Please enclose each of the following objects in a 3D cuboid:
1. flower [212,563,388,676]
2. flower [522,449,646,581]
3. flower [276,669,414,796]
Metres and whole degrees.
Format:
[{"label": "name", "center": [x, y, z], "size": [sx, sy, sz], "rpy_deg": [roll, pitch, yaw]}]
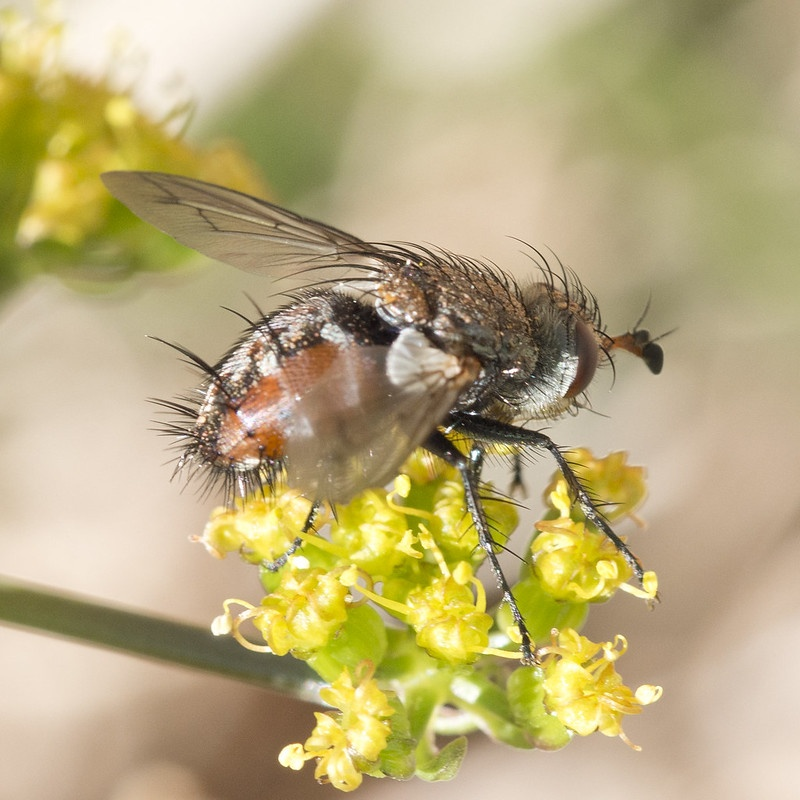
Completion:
[{"label": "flower", "center": [-0.143, 0.321, 1.504], "size": [0.242, 0.071, 0.183], "rpy_deg": [-29, -82, 21]}, {"label": "flower", "center": [0.338, 0.187, 1.729], "size": [0.158, 0.183, 0.051], "rpy_deg": [56, -50, 17]}, {"label": "flower", "center": [-0.079, 0.495, 1.461], "size": [0.207, 0.056, 0.167], "rpy_deg": [-44, -96, 1]}]
